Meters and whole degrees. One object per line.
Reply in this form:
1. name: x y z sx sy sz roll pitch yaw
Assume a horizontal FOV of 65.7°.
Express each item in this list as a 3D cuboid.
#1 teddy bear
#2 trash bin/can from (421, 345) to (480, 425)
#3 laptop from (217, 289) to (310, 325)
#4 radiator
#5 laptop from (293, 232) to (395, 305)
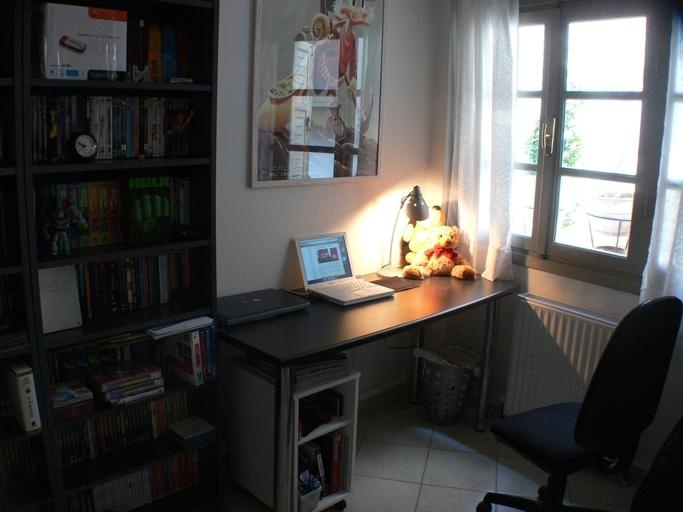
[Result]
1. teddy bear: 0.608 -0.018 3.257 0.410 0.356 0.271 0 3 12
2. trash bin/can: 0.695 0.802 3.355 0.391 0.458 0.420 1 4 -33
3. laptop: -0.410 0.235 2.562 0.267 0.050 0.198 -11 18 -35
4. radiator: 1.188 0.510 2.826 0.086 0.685 0.524 -9 24 -45
5. laptop: 0.001 0.077 2.880 0.391 0.327 0.427 -10 20 -44
